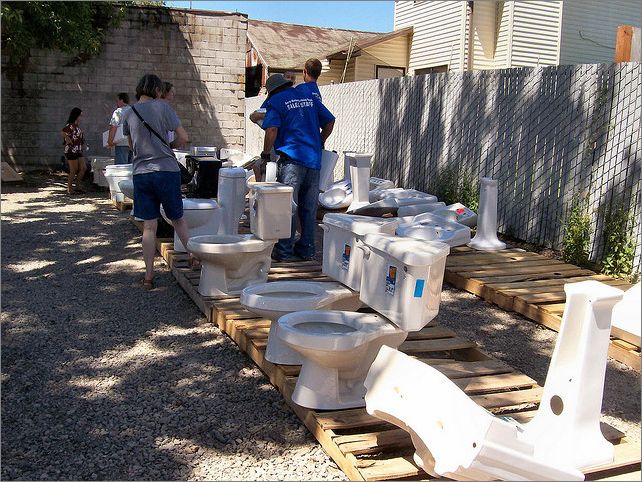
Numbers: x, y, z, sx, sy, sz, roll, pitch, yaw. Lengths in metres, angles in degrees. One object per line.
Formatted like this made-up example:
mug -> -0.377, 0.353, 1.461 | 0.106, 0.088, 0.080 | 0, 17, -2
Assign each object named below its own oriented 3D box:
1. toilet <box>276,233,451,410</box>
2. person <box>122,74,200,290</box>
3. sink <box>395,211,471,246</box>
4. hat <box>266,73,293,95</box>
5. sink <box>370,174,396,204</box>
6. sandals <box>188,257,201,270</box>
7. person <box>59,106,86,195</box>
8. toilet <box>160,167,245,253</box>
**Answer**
toilet -> 0.216, 0.586, 3.935 | 1.276, 1.184, 0.705 | -3, 13, -28
person -> -1.732, -0.691, 6.090 | 0.835, 2.377, 0.500 | -4, 12, -28
sink -> 1.543, -0.105, 7.573 | 1.035, 0.487, 1.093 | -1, 10, -14
hat -> -0.513, -1.858, 6.477 | 0.282, 0.111, 0.239 | -18, 20, 44
sink -> 1.013, -0.915, 9.507 | 0.502, 0.506, 0.489 | -12, 22, -38
sandals -> -1.439, 0.266, 6.140 | 0.136, 0.152, 0.409 | 0, 1, -15
person -> -5.363, -1.921, 11.686 | 0.669, 2.286, 0.816 | -2, 14, -18
toilet -> -1.514, -0.423, 7.119 | 0.862, 1.227, 0.913 | 0, 11, -18
